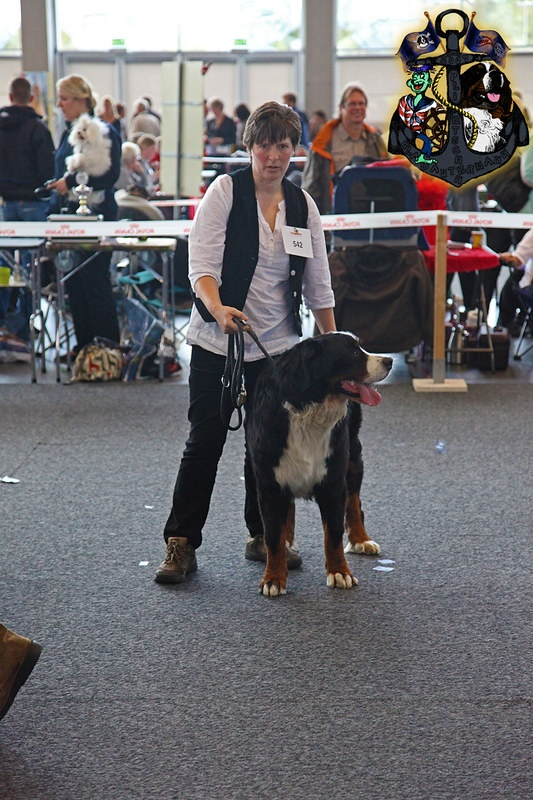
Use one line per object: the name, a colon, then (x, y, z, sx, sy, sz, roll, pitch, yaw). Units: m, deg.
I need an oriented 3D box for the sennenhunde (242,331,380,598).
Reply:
sennenhunde: (0.158, 0.203, 2.814, 0.459, 0.878, 0.557, 0, 9, -2)

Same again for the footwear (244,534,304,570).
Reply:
footwear: (0.033, 0.570, 3.084, 0.088, 0.123, 0.254, -1, -1, -37)

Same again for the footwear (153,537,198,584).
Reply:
footwear: (-0.313, 0.574, 2.857, 0.077, 0.108, 0.215, 0, -2, 9)

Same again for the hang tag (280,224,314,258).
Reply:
hang tag: (0.093, -0.515, 2.724, 0.119, 0.116, 0.006, -4, -3, -45)
